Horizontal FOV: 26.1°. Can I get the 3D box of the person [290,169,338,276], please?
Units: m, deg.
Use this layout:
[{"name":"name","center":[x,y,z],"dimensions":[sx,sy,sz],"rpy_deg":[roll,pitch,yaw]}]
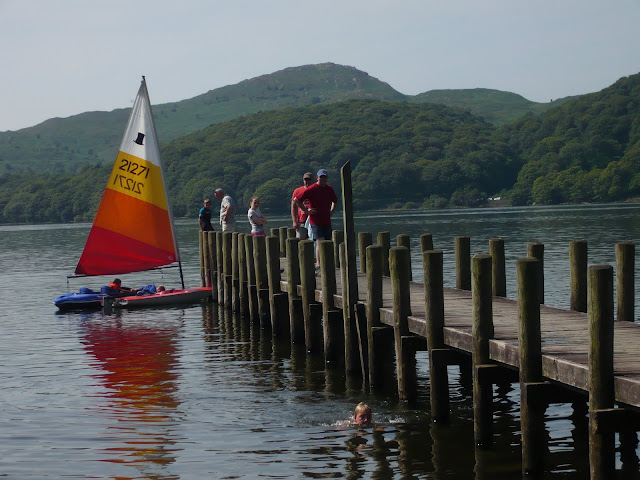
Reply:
[{"name":"person","center":[-0.076,-0.790,37.819],"dimensions":[1.089,2.178,0.843],"rpy_deg":[-1,-6,-2]}]
